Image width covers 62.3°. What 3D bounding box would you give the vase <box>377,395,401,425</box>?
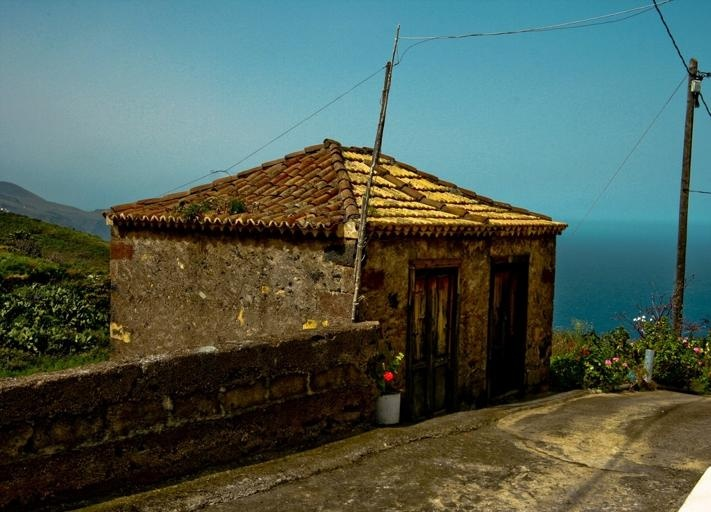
[{"bbox_3d":[0.426,1.974,7.692,0.319,0.350,0.323,-8,-21,9],"label":"vase"}]

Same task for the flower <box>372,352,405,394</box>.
[{"bbox_3d":[0.471,1.625,7.904,0.418,0.559,0.412,1,-10,-9],"label":"flower"}]
